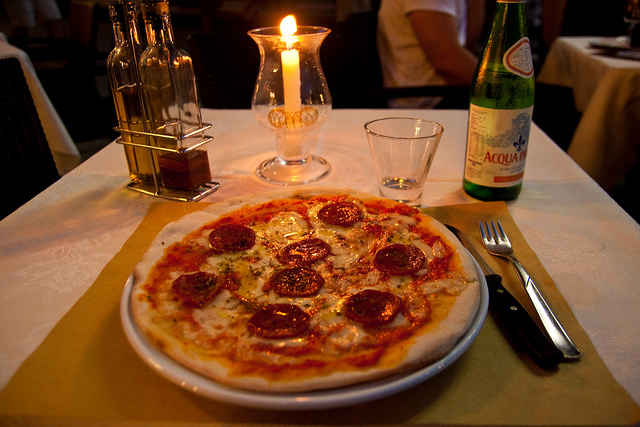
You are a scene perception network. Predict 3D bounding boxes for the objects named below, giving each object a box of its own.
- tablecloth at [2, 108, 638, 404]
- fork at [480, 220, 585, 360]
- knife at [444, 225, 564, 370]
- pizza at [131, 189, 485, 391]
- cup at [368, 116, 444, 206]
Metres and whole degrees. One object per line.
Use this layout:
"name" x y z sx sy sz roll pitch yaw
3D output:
"tablecloth" 0.018 0.220 1.363 0.940 0.004 1.033 1 23 4
"fork" 0.408 0.130 1.005 0.056 0.037 0.375 -8 35 -5
"knife" 0.368 0.167 0.952 0.064 0.022 0.303 -12 31 -5
"pizza" -0.036 0.122 1.006 0.657 0.100 0.552 -11 33 -18
"cup" 0.166 -0.145 1.284 0.228 0.231 0.212 -1 23 0
